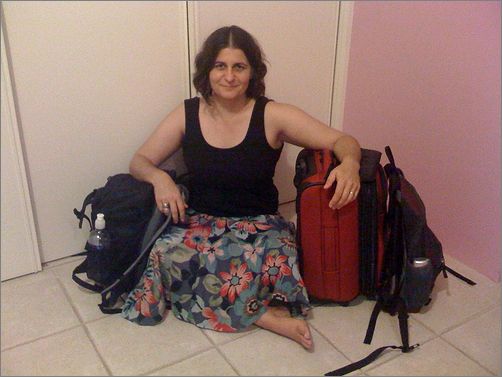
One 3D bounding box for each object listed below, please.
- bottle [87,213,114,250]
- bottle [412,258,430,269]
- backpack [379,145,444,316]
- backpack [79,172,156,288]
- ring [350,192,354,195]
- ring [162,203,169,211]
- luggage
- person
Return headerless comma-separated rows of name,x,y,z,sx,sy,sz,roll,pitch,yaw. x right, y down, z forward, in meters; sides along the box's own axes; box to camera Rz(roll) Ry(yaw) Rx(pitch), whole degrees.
bottle,-0.670,0.197,1.923,0.120,0.206,0.120,6,23,-3
bottle,0.735,0.321,1.839,0.053,0.016,0.038,-3,34,4
backpack,0.687,0.212,1.902,0.320,0.632,0.298,16,35,28
backpack,-0.641,0.187,2.213,0.440,0.558,0.475,2,13,-29
ring,0.425,0.021,1.797,0.018,0.013,0.009,-22,36,-30
ring,-0.378,0.085,1.901,0.028,0.035,0.022,-9,31,-12
luggage,0.409,0.163,1.961,0.412,0.586,0.386,1,30,5
person,-0.108,-0.040,1.892,0.964,1.156,0.796,4,31,10
